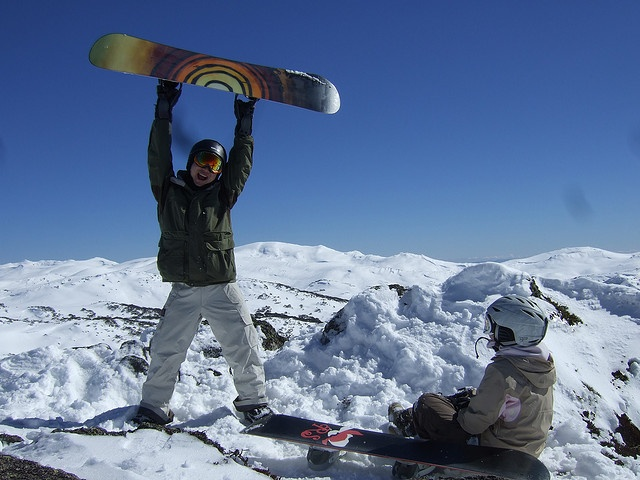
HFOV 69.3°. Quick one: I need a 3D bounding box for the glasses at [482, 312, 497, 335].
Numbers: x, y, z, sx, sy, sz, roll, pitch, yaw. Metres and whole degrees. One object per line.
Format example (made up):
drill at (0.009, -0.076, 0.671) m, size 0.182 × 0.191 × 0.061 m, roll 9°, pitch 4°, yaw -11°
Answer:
glasses at (2.267, 1.139, 6.203) m, size 0.217 × 0.350 × 0.091 m, roll 1°, pitch 8°, yaw -29°
